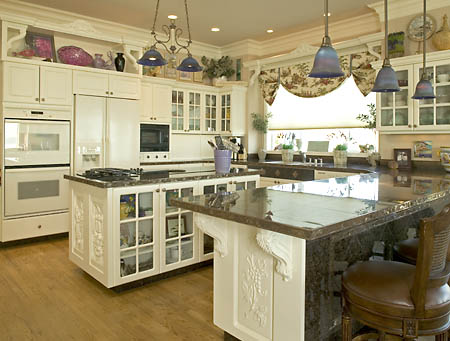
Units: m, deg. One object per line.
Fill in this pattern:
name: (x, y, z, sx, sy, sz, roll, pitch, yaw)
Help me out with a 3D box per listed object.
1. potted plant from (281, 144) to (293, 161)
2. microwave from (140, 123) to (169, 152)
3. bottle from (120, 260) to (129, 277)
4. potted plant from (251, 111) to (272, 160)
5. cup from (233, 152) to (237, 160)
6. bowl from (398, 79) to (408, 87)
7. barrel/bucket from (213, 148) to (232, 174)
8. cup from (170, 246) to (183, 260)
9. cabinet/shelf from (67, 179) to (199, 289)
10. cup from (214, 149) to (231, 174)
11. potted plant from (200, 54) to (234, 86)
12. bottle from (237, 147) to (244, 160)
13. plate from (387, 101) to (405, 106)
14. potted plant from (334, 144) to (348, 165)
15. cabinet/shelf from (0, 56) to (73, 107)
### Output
potted plant: (1.102, -0.300, 6.359, 0.199, 0.299, 0.260, 3, 11, 12)
microwave: (-1.235, -0.573, 6.340, 0.730, 0.541, 0.416, -2, 2, -45)
bottle: (-0.990, 0.946, 3.477, 0.022, 0.176, 0.077, 9, 14, 40)
potted plant: (0.759, -0.706, 7.296, 0.332, 0.930, 0.435, -5, 12, -25)
cup: (0.193, -0.274, 7.041, 0.090, 0.121, 0.249, 0, 11, -1)
bowl: (2.425, -1.187, 4.865, 0.118, 0.084, 0.121, -1, 1, 0)
barrel/bucket: (-0.029, -0.117, 4.235, 0.265, 0.298, 0.264, 0, 2, 0)
cup: (-0.516, 0.888, 3.814, 0.108, 0.098, 0.136, -3, -7, 15)
cabinet/shelf: (-0.969, 0.634, 4.073, 1.028, 1.346, 1.645, 2, 3, 45)
cup: (-0.030, -0.114, 4.227, 0.260, 0.293, 0.258, 0, 2, 0)
potted plant: (-0.127, -2.100, 7.415, 0.597, 0.560, 0.456, -8, 14, -37)
bottle: (0.311, -0.338, 7.079, 0.131, 0.233, 0.284, 0, 11, 2)
plate: (2.373, -0.923, 4.930, 0.130, 0.046, 0.096, 0, 2, 29)
potted plant: (1.917, -0.270, 5.921, 0.231, 0.318, 0.411, 4, 11, 17)
cabinet/shelf: (-2.579, -1.208, 5.004, 0.990, 0.665, 0.532, -2, 2, -42)
